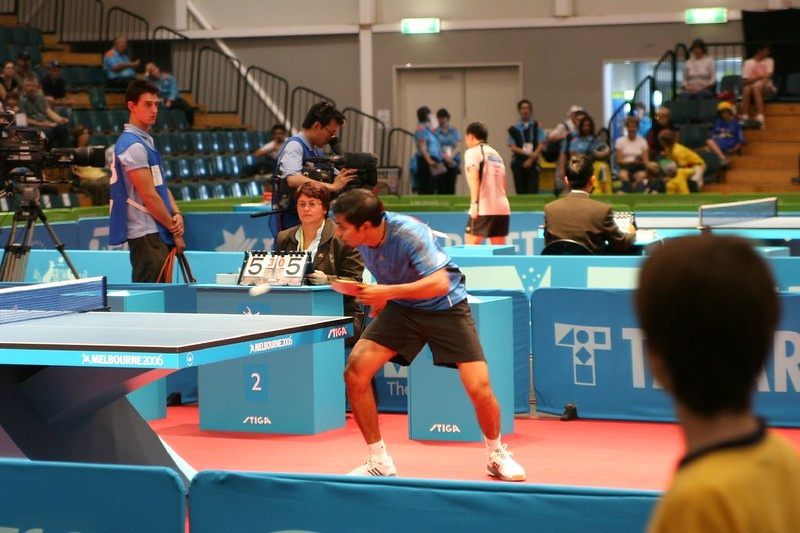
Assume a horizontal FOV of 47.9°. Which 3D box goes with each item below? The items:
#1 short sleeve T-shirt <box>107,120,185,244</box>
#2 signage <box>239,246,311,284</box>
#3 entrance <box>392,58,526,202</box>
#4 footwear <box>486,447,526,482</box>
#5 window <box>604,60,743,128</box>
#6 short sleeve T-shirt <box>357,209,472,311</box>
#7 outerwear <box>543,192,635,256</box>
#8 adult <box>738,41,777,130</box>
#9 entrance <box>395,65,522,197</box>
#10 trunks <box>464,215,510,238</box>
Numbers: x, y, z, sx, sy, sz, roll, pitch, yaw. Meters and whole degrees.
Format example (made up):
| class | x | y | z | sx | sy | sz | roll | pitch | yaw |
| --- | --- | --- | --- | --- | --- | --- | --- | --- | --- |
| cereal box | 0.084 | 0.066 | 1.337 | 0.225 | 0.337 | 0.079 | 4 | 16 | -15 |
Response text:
| class | x | y | z | sx | sy | sz | roll | pitch | yaw |
| --- | --- | --- | --- | --- | --- | --- | --- | --- | --- |
| short sleeve T-shirt | -2.016 | -0.594 | 7.245 | 0.701 | 1.304 | 1.046 | -2 | 6 | -15 |
| signage | -0.832 | 0.020 | 6.132 | 0.506 | 0.250 | 0.201 | 1 | -4 | 27 |
| entrance | 1.688 | -3.474 | 20.694 | 3.147 | 0.410 | 3.685 | -6 | 50 | -12 |
| footwear | 0.577 | 1.089 | 4.979 | 0.112 | 0.129 | 0.280 | -3 | 0 | -28 |
| window | 5.373 | -3.948 | 19.410 | 2.039 | 1.256 | 2.012 | -8 | 11 | -32 |
| short sleeve T-shirt | 0.067 | -0.026 | 4.773 | 0.563 | 0.519 | 0.288 | -1 | 6 | 2 |
| outerwear | 1.582 | -0.385 | 7.808 | 0.806 | 0.550 | 0.444 | 6 | 18 | 31 |
| adult | 7.099 | -3.543 | 17.822 | 0.642 | 1.585 | 0.486 | 0 | 6 | 7 |
| entrance | 1.438 | -3.757 | 21.920 | 3.674 | 0.393 | 4.326 | -3 | -23 | -7 |
| trunks | 0.986 | -0.446 | 9.889 | 0.420 | 0.314 | 0.248 | 1 | 11 | -5 |
